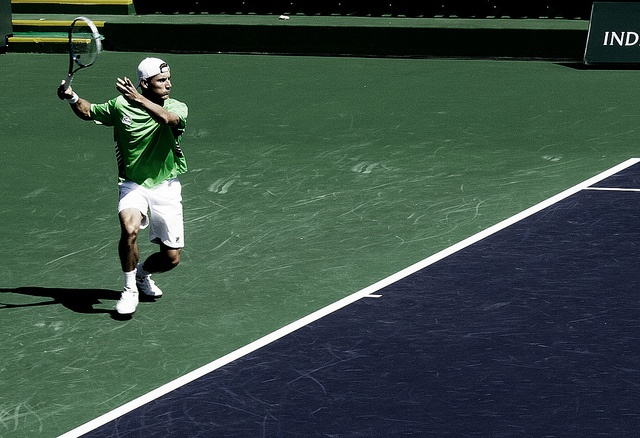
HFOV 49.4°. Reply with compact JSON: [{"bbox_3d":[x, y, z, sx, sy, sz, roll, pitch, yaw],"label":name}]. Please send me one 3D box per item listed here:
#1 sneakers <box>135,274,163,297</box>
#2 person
[{"bbox_3d":[-1.817,0.719,7.357,0.370,0.208,0.097,23,37,-11],"label":"sneakers"},{"bbox_3d":[-1.775,-0.303,6.970,0.997,2.547,0.916,-4,22,-8],"label":"person"}]
